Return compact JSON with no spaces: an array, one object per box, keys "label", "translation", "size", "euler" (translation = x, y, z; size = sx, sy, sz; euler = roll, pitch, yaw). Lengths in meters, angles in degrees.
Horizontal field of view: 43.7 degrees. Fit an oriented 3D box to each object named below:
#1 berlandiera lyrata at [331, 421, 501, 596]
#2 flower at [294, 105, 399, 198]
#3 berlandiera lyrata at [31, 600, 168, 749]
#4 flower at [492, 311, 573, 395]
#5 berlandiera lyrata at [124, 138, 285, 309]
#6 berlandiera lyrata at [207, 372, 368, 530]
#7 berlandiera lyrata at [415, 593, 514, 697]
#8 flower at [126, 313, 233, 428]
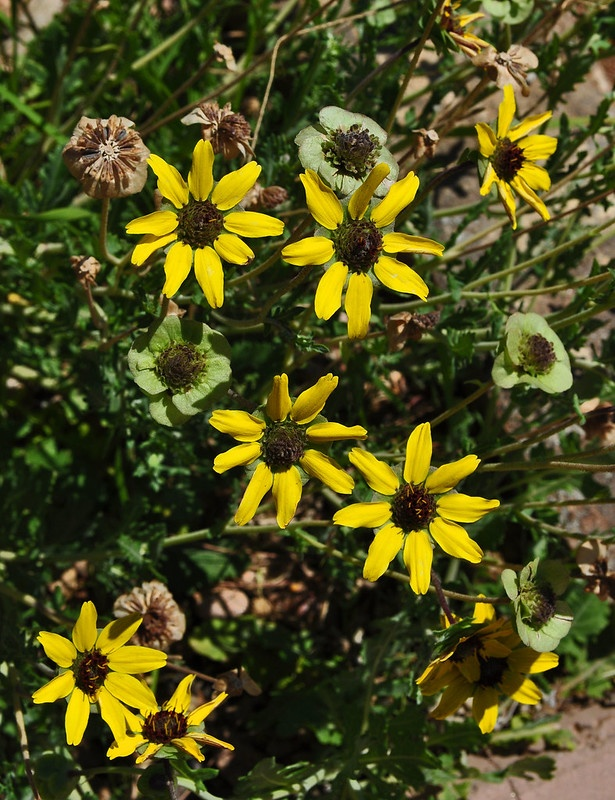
[{"label":"berlandiera lyrata","translation":[0.206,0.237,1.523],"size":[0.312,0.277,0.277],"euler":[-12,47,-12]},{"label":"flower","translation":[0.063,-0.497,1.551],"size":[0.205,0.080,0.230],"euler":[34,32,32]},{"label":"berlandiera lyrata","translation":[-0.436,0.576,1.601],"size":[0.268,0.255,0.225],"euler":[-6,47,-6]},{"label":"flower","translation":[0.472,-0.094,1.645],"size":[0.156,0.172,0.070],"euler":[35,81,1]},{"label":"berlandiera lyrata","translation":[-0.236,-0.372,1.551],"size":[0.335,0.298,0.090],"euler":[-7,50,-53]},{"label":"berlandiera lyrata","translation":[-0.052,0.099,1.538],"size":[0.289,0.325,0.254],"euler":[-12,48,-12]},{"label":"berlandiera lyrata","translation":[0.332,0.519,1.626],"size":[0.264,0.251,0.114],"euler":[-14,49,-13]},{"label":"flower","translation":[-0.253,-0.063,1.553],"size":[0.198,0.148,0.178],"euler":[-22,50,-21]}]
